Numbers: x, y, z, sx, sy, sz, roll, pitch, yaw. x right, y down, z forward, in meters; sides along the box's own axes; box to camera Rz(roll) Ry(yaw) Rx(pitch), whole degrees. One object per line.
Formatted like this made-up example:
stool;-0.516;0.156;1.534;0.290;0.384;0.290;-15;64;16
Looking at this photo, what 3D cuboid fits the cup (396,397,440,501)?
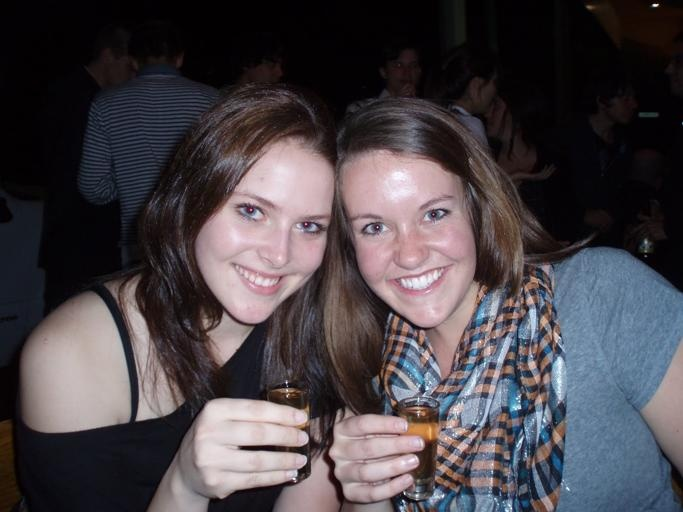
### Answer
cup;0.378;0.934;2.842;0.197;0.511;0.129;-4;4;4
